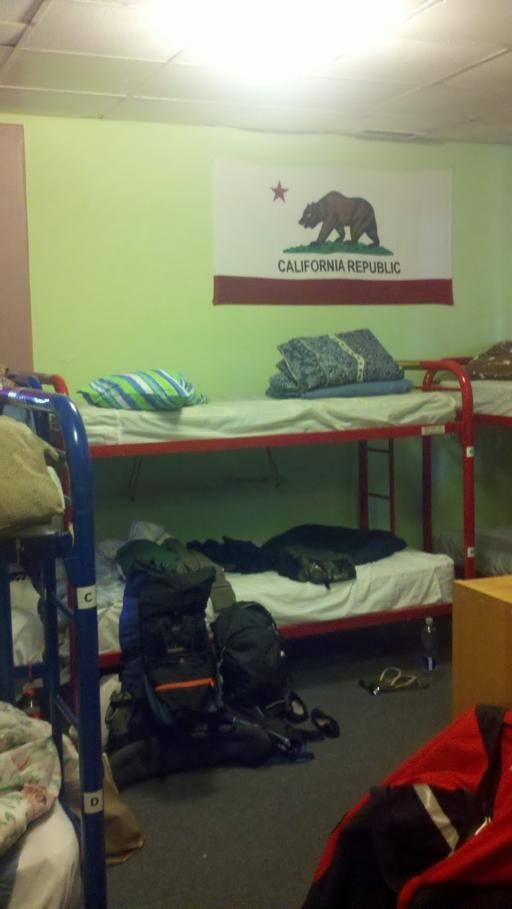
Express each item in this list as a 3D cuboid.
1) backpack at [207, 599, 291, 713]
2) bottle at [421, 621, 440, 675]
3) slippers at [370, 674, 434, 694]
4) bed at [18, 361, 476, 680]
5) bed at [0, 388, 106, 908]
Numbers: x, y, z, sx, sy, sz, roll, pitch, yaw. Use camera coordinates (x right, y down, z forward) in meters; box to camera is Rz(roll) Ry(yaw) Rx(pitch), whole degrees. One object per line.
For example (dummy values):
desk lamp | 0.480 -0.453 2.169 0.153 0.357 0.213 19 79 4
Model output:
backpack | -0.034 0.875 2.951 0.315 0.390 0.333 -2 3 -5
bottle | 0.938 0.993 3.683 0.076 0.289 0.259 -1 3 15
slippers | 0.704 1.144 3.375 0.156 0.039 0.118 -1 -3 -17
bed | -0.024 0.163 3.770 2.020 1.349 0.956 -8 14 -22
bed | -0.432 0.417 1.596 0.100 1.144 0.341 -3 3 -18
